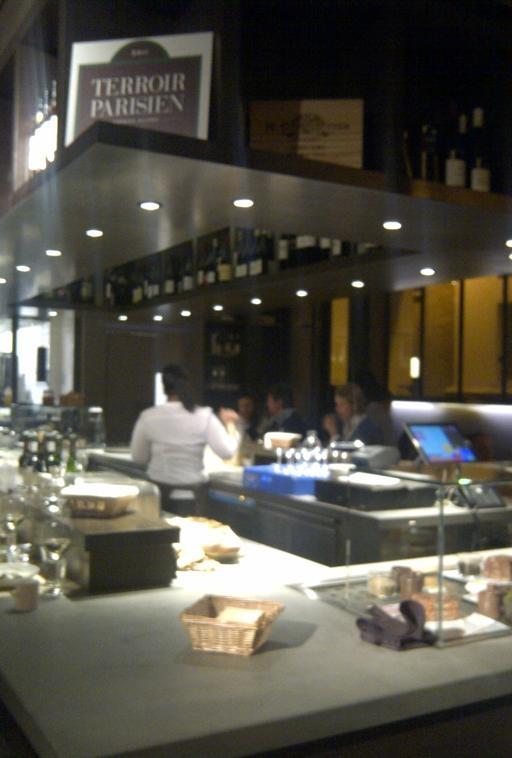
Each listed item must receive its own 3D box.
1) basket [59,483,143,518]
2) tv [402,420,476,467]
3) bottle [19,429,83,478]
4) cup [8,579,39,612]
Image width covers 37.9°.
[{"bbox_3d":[-0.395,0.313,1.878,0.188,0.061,0.140,-2,7,-10],"label":"basket"},{"bbox_3d":[0.480,0.163,1.941,0.199,0.099,0.176,-3,7,-15],"label":"tv"},{"bbox_3d":[-0.759,0.255,2.790,0.163,0.082,0.227,4,7,31],"label":"bottle"},{"bbox_3d":[-0.485,0.454,1.585,0.057,0.067,0.057,3,-1,0],"label":"cup"}]
